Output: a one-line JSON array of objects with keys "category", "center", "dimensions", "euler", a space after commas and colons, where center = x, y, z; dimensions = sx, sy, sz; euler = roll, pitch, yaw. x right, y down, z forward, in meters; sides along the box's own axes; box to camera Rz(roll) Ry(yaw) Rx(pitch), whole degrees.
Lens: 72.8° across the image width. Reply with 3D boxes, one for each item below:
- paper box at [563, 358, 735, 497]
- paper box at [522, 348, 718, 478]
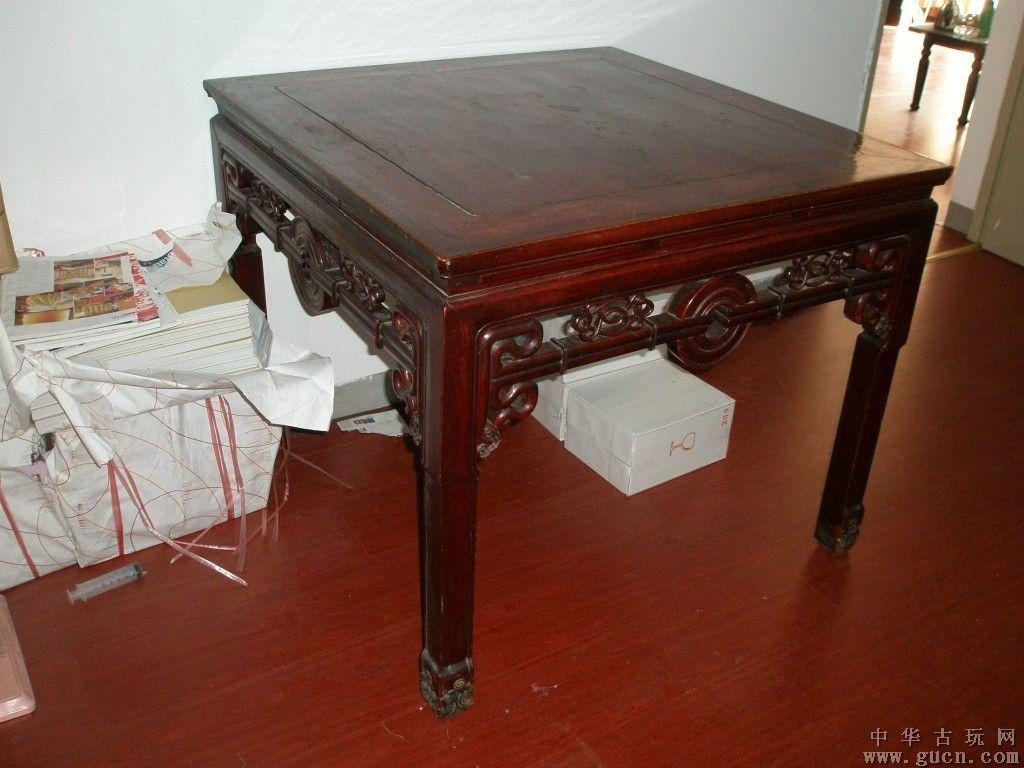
[{"category": "paper box", "center": [0.356, 0.097, 1.867], "dimensions": [0.398, 0.213, 0.310], "euler": [-18, 37, -29]}, {"category": "paper box", "center": [0.319, 0.043, 1.887], "dimensions": [0.380, 0.207, 0.397], "euler": [-18, 35, -29]}]
